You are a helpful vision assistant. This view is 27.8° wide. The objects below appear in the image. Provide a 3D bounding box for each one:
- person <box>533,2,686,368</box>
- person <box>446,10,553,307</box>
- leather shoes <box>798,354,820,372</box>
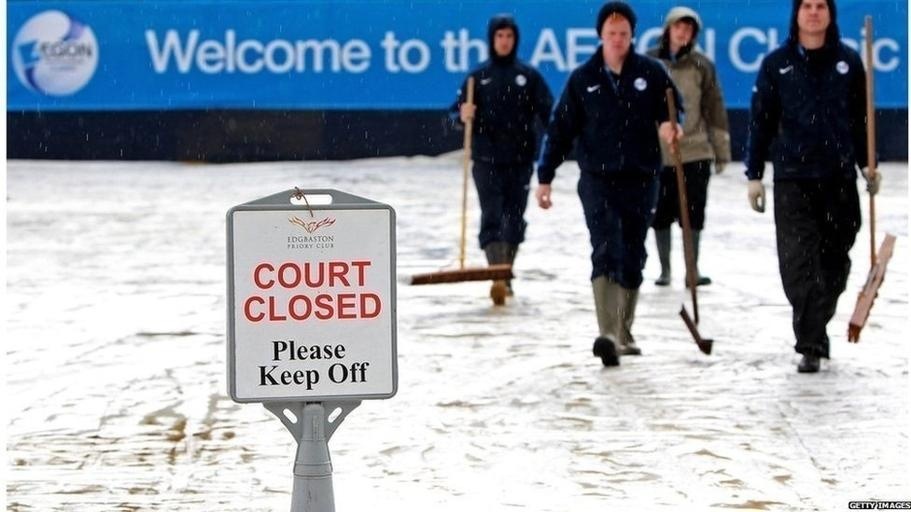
[{"bbox_3d":[1.613,-0.781,18.574,1.256,3.564,0.706,-2,11,-1],"label":"person"},{"bbox_3d":[0.560,-1.284,20.849,1.235,2.821,1.208,0,4,-6],"label":"person"},{"bbox_3d":[3.532,1.075,18.275,0.205,0.173,0.191,-1,-3,17],"label":"leather shoes"}]
